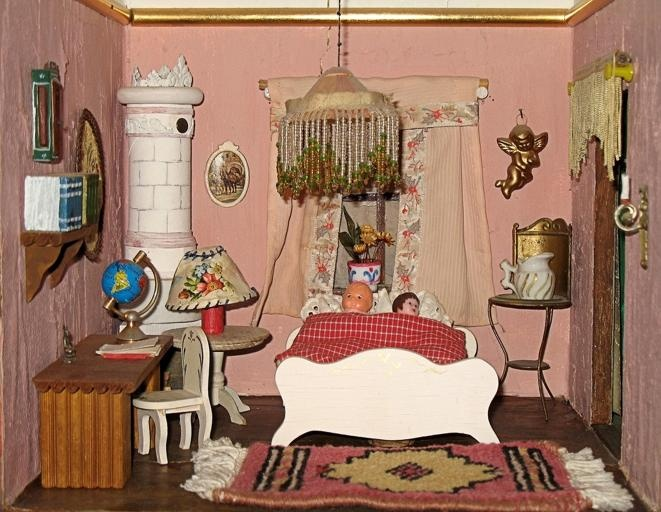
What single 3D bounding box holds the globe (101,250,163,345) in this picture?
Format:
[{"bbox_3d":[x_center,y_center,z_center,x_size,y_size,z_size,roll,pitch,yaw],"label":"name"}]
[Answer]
[{"bbox_3d":[-1.407,0.268,6.196,0.386,0.623,0.225,-1,0,-14],"label":"globe"}]
